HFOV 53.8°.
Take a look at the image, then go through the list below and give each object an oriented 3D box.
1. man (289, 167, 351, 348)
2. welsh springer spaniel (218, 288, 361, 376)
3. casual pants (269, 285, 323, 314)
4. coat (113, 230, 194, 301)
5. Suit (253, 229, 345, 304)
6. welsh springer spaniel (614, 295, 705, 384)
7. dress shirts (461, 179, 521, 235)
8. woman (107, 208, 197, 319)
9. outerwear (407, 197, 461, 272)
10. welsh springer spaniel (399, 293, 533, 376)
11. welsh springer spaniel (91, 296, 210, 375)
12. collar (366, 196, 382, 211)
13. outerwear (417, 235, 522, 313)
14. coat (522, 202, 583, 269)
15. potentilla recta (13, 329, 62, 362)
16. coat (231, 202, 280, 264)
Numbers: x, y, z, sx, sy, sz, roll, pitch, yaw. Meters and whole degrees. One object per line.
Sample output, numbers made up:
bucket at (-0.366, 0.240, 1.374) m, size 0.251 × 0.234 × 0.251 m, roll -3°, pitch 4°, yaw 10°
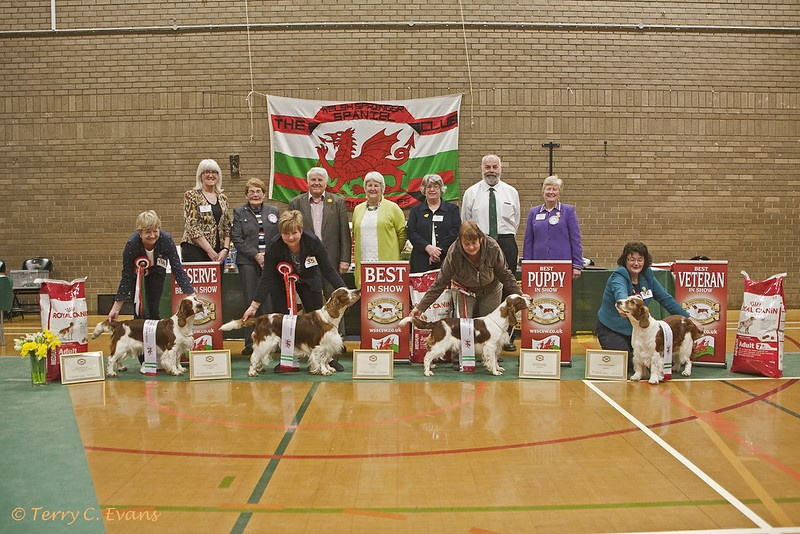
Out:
man at (-1.253, -0.160, 12.372) m, size 0.939 × 2.777 × 0.935 m, roll -1°, pitch 11°, yaw -5°
welsh springer spaniel at (-1.572, 0.953, 11.468) m, size 1.997 × 1.250 × 0.618 m, roll 0°, pitch 9°, yaw 2°
casual pants at (-1.531, 0.466, 11.801) m, size 0.547 × 0.518 × 0.171 m, roll 0°, pitch 11°, yaw 0°
coat at (-3.622, -0.027, 11.715) m, size 1.071 × 1.044 × 0.523 m, roll -3°, pitch 1°, yaw -16°
Suit at (-1.474, -0.056, 11.728) m, size 1.274 × 0.934 × 0.694 m, roll -1°, pitch 6°, yaw -4°
welsh springer spaniel at (3.744, 1.016, 11.287) m, size 1.646 × 1.221 × 0.501 m, roll -4°, pitch 4°, yaw -29°
dress shirts at (1.433, -0.890, 12.351) m, size 0.887 × 0.901 × 0.508 m, roll -2°, pitch 12°, yaw -1°
woman at (-3.598, 0.241, 11.754) m, size 1.283 × 2.071 × 1.095 m, roll -1°, pitch 21°, yaw -15°
outerwear at (0.491, -0.448, 12.218) m, size 0.781 × 1.174 × 0.664 m, roll 1°, pitch 14°, yaw -2°
welsh springer spaniel at (0.951, 1.009, 11.450) m, size 1.864 × 1.169 × 0.587 m, roll 1°, pitch 5°, yaw 3°
welsh springer spaniel at (-3.648, 1.015, 11.445) m, size 1.673 × 1.117 × 0.531 m, roll 0°, pitch 2°, yaw 0°
collar at (-0.399, -0.962, 12.088) m, size 0.193 × 0.148 × 0.188 m, roll 0°, pitch -2°, yaw 0°
outerwear at (1.077, 0.125, 11.527) m, size 1.746 × 1.132 × 0.670 m, roll -6°, pitch 15°, yaw -4°
coat at (2.359, -0.453, 12.305) m, size 1.255 × 1.307 × 0.652 m, roll 0°, pitch -2°, yaw 15°
potentilla recta at (-4.957, 1.056, 10.984) m, size 0.461 × 0.425 × 0.469 m, roll 0°, pitch 3°, yaw -1°
coat at (-2.226, -0.538, 12.360) m, size 0.748 × 0.900 × 0.485 m, roll -6°, pitch 12°, yaw -28°
